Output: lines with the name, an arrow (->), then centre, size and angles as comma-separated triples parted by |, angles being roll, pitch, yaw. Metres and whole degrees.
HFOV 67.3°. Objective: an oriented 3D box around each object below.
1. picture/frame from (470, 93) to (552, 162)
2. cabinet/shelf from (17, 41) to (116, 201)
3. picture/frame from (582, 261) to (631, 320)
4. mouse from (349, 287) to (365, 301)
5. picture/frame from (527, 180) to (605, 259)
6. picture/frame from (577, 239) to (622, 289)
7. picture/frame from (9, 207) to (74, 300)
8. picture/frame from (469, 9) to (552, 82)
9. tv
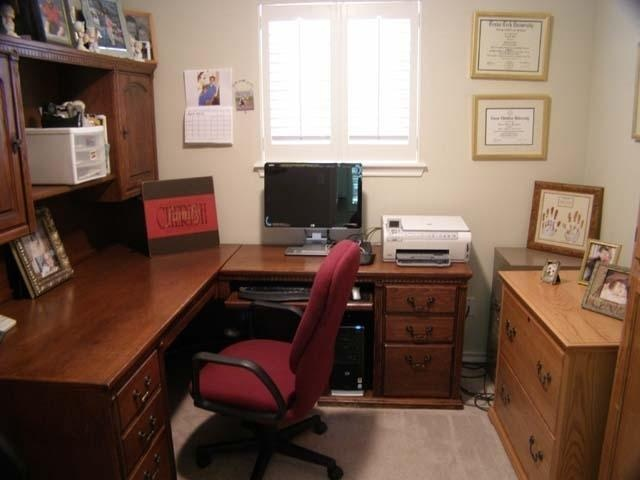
picture/frame -> 1.273, -0.766, 3.180 | 0.387, 0.385, 0.029 | -1, 12, 1
cabinet/shelf -> -1.344, -0.654, 2.549 | 0.273, 0.759, 0.756 | 1, 16, 3
picture/frame -> 1.344, 0.245, 2.256 | 0.194, 0.249, 0.033 | 17, -4, 43
mouse -> 0.217, 0.323, 2.838 | 0.109, 0.045, 0.117 | 0, 10, -1
picture/frame -> 1.594, -0.138, 3.144 | 0.391, 0.531, 0.037 | 13, 35, 34
picture/frame -> 1.427, 0.127, 2.444 | 0.028, 0.309, 0.207 | 1, 8, -22
picture/frame -> -1.446, 0.082, 2.480 | 0.047, 0.464, 0.377 | -14, 9, 19
picture/frame -> 1.237, -1.272, 3.094 | 0.385, 0.368, 0.033 | 1, 14, 0
tv -> -0.035, -0.225, 3.128 | 0.553, 0.571, 0.231 | 1, 4, 2
